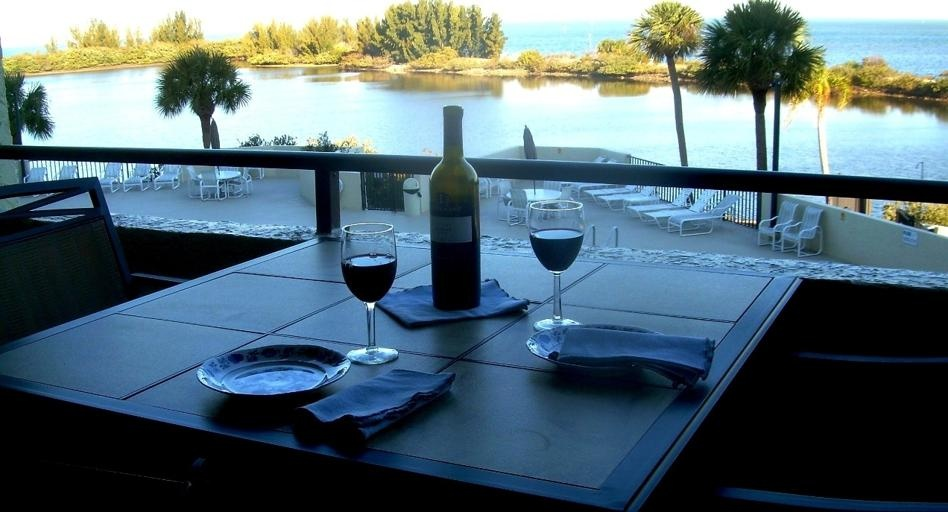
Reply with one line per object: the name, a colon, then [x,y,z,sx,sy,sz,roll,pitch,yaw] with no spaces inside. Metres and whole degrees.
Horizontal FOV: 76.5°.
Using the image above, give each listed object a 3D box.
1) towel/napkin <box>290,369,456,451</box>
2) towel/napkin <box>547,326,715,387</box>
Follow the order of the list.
towel/napkin: [-0.198,0.279,1.243,0.146,0.058,0.247,12,22,37]
towel/napkin: [0.363,0.215,1.365,0.275,0.065,0.156,6,15,15]
